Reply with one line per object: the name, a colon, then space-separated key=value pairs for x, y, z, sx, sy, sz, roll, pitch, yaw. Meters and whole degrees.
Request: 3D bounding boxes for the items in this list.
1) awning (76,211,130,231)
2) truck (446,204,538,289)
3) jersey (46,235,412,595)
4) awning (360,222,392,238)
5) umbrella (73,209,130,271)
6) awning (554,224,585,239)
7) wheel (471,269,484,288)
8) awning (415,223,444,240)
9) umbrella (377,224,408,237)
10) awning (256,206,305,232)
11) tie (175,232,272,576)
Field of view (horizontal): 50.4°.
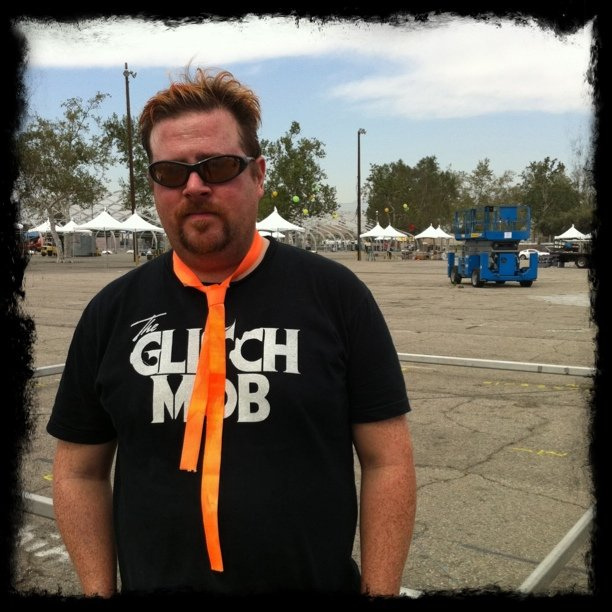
awning: x=-11.912 y=-4.904 z=38.763 sx=2.228 sy=1.437 sz=2.466 roll=2 pitch=3 yaw=9
truck: x=6.882 y=-2.195 z=24.748 sx=1.677 sy=3.110 sz=3.850 roll=0 pitch=4 yaw=-9
jersey: x=-0.272 y=0.331 z=2.321 sx=1.230 sy=1.686 sz=0.522 roll=-1 pitch=6 yaw=-9
awning: x=6.402 y=-6.624 z=58.571 sx=1.957 sy=1.174 sz=2.181 roll=1 pitch=11 yaw=2
umbrella: x=-12.367 y=-3.326 z=39.483 sx=3.170 sy=4.222 sz=3.850 roll=-8 pitch=13 yaw=-40
awning: x=22.089 y=-6.157 z=54.065 sx=1.504 sy=1.133 sz=3.824 roll=2 pitch=6 yaw=21
wheel: x=6.302 y=-1.027 z=23.779 sx=0.215 sy=0.685 sz=0.616 roll=-3 pitch=2 yaw=-5
awning: x=11.560 y=-6.703 z=60.462 sx=1.651 sy=1.115 sz=1.834 roll=0 pitch=7 yaw=-6
umbrella: x=7.644 y=-6.597 z=59.083 sx=1.933 sy=1.068 sz=2.149 roll=0 pitch=9 yaw=-1
awning: x=-1.973 y=-6.121 z=45.684 sx=2.278 sy=1.836 sz=9.021 roll=0 pitch=5 yaw=-1
tie: x=-0.254 y=0.221 z=1.687 sx=0.219 sy=0.849 sz=0.037 roll=-2 pitch=-4 yaw=13
